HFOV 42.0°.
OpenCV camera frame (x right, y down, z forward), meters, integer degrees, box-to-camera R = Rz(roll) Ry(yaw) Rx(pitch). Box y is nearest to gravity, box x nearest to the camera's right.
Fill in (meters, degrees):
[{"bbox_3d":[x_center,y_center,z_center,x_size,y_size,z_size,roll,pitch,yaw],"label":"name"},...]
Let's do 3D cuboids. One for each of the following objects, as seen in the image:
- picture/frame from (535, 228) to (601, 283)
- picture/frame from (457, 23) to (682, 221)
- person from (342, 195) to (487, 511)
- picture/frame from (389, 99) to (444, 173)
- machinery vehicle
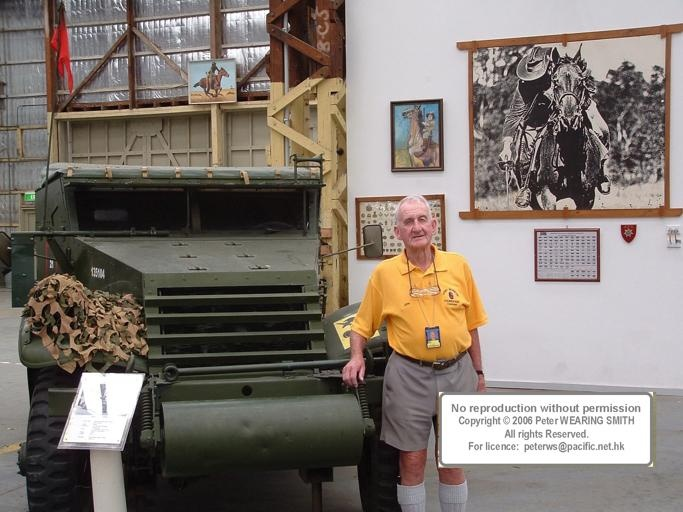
[{"bbox_3d":[2.320,-0.025,8.999,0.477,0.458,0.040,0,-3,13],"label":"picture/frame"},{"bbox_3d":[2.404,-1.398,8.960,1.727,1.573,0.067,-1,-2,12],"label":"picture/frame"},{"bbox_3d":[0.486,0.617,5.850,0.914,2.021,0.522,1,9,11],"label":"person"},{"bbox_3d":[0.807,-1.291,9.308,0.657,0.980,0.040,-1,-1,15],"label":"picture/frame"},{"bbox_3d":[-1.037,0.578,6.638,2.885,2.486,2.154,-1,10,3],"label":"machinery vehicle"}]
